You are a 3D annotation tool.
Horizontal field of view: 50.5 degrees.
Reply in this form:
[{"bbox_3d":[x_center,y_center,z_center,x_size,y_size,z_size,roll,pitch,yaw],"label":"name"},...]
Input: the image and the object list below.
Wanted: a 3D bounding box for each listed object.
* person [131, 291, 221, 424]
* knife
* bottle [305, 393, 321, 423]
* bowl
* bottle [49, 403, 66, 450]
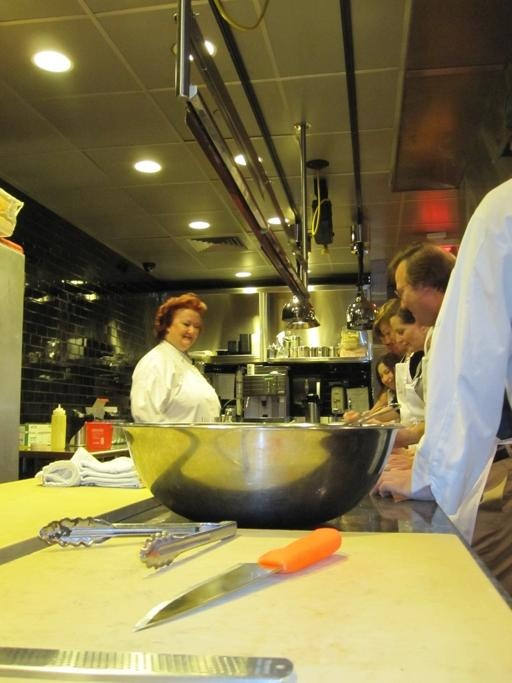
[{"bbox_3d":[-0.500,0.079,3.297,0.441,0.810,0.653,-4,-7,3],"label":"person"},{"bbox_3d":[-0.011,0.172,0.453,0.047,0.021,0.204,-4,-2,36],"label":"knife"},{"bbox_3d":[0.603,0.696,5.770,0.155,0.288,0.494,-4,-6,5],"label":"bottle"},{"bbox_3d":[0.011,0.197,0.791,0.368,0.125,0.362,0,-14,0],"label":"bowl"},{"bbox_3d":[-1.196,0.528,3.295,0.084,0.260,0.322,-1,-7,-21],"label":"bottle"}]
